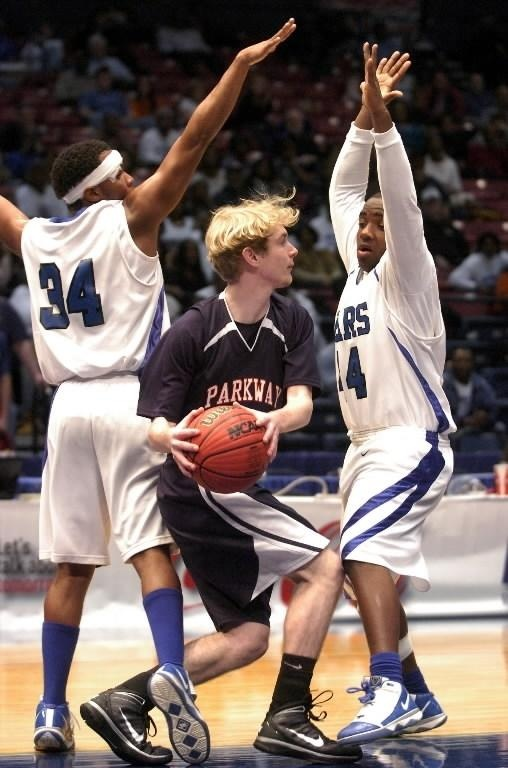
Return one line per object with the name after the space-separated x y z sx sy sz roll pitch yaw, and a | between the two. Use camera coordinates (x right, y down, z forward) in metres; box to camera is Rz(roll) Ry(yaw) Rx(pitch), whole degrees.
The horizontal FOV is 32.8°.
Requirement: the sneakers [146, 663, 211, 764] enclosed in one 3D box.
-0.184 0.837 2.236 0.116 0.276 0.123 -23 13 12 | sneakers

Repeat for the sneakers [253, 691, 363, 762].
0.120 0.957 2.371 0.359 0.185 0.117 5 -21 2 | sneakers

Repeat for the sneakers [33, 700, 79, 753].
-0.576 1.007 2.505 0.083 0.086 0.196 0 -7 -1 | sneakers

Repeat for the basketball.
-0.075 0.155 2.203 0.226 0.208 0.194 -3 8 -36 | basketball
